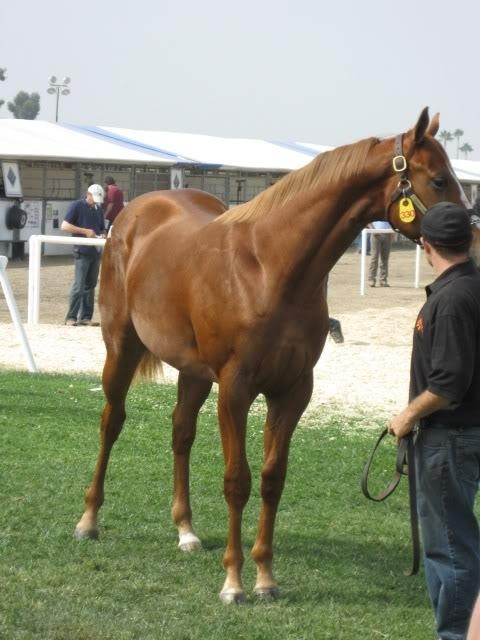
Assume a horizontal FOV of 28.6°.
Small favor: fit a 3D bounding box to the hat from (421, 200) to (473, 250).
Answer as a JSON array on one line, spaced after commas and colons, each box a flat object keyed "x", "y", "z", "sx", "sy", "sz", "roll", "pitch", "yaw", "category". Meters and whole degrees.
[{"x": 0.697, "y": -0.306, "z": 3.139, "sx": 0.137, "sy": 0.097, "sz": 0.173, "roll": 4, "pitch": 32, "yaw": 3, "category": "hat"}]

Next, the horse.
[{"x": 0.024, "y": 0.181, "z": 4.012, "sx": 0.673, "sy": 1.832, "sz": 2.362, "roll": 4, "pitch": -3, "yaw": -35, "category": "horse"}]

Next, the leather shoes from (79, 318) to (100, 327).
[{"x": -1.613, "y": 0.037, "z": 10.424, "sx": 0.286, "sy": 0.112, "sz": 0.102, "roll": 1, "pitch": 10, "yaw": 8, "category": "leather shoes"}]

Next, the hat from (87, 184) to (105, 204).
[{"x": -1.579, "y": -1.422, "z": 10.339, "sx": 0.156, "sy": 0.128, "sz": 0.236, "roll": 3, "pitch": 35, "yaw": -44, "category": "hat"}]
